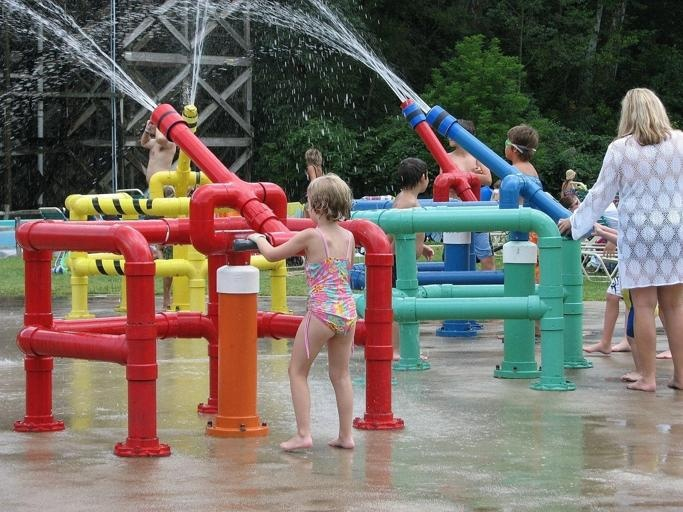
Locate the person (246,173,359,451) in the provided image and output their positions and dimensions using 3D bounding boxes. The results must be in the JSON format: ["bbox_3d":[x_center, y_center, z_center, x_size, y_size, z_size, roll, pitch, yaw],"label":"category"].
[{"bbox_3d":[-0.251,0.479,11.576,0.737,2.296,0.575,-1,8,0],"label":"person"}]

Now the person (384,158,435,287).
[{"bbox_3d":[0.829,-0.278,15.090,0.603,1.580,0.529,-5,21,-12],"label":"person"}]

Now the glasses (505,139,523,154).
[{"bbox_3d":[1.980,-1.259,15.671,0.178,0.173,0.055,0,0,-41],"label":"glasses"}]

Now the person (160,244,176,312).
[{"bbox_3d":[-2.489,0.324,19.442,0.295,1.023,0.286,-4,-16,11],"label":"person"}]
